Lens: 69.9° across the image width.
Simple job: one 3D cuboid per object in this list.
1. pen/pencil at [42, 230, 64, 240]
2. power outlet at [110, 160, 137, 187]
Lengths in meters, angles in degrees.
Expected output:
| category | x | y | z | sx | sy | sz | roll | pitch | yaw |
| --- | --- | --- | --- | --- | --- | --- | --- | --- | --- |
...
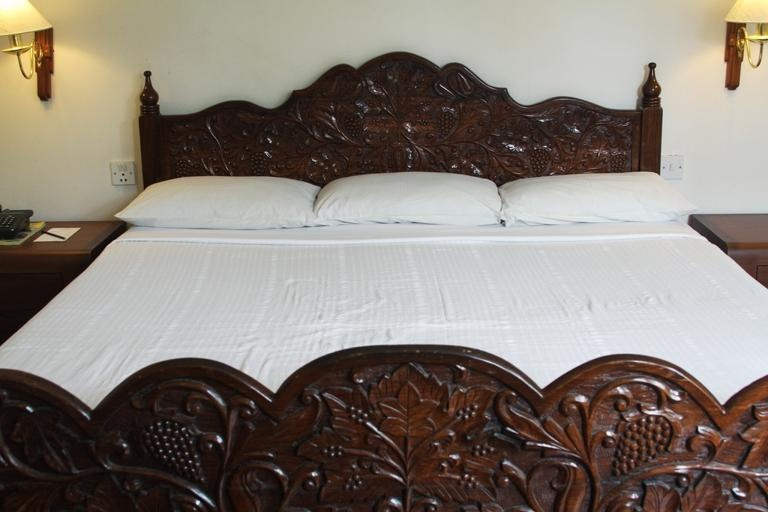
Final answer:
| category | x | y | z | sx | sy | sz | roll | pitch | yaw |
| --- | --- | --- | --- | --- | --- | --- | --- | --- | --- |
| pen/pencil | -1.759 | -0.113 | 2.911 | 0.164 | 0.018 | 0.019 | 13 | 48 | 27 |
| power outlet | -1.491 | -0.481 | 3.128 | 0.178 | 0.140 | 0.021 | 1 | 11 | -4 |
